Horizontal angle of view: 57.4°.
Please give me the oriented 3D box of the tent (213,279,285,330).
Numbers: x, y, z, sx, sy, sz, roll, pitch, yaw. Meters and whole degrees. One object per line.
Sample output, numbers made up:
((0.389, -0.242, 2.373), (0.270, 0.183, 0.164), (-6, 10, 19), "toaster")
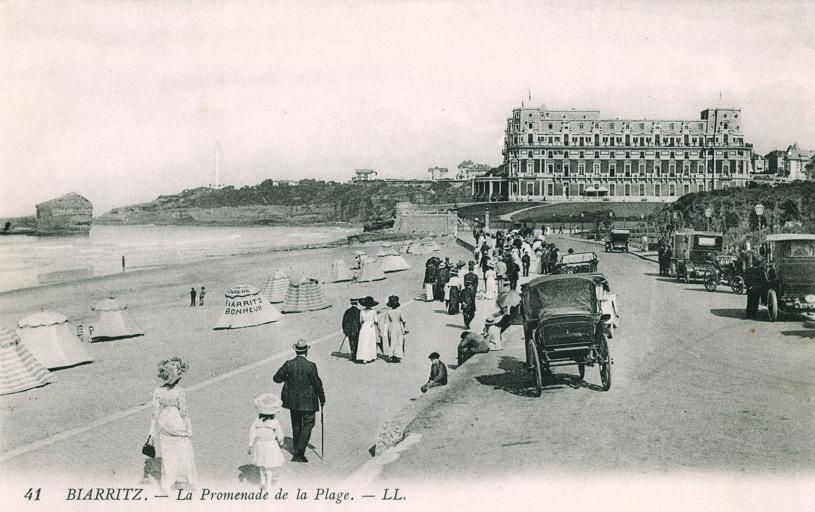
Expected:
((-7.099, 2.263, 33.098), (2.600, 1.820, 1.213), (-2, 7, -11), "tent")

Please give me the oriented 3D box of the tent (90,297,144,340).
((-12.625, 2.797, 32.333), (1.920, 1.442, 1.380), (-3, 8, -22), "tent")

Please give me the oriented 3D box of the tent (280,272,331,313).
((-5.134, 1.777, 36.769), (2.089, 1.752, 3.001), (1, 3, -17), "tent")

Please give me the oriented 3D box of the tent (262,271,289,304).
((-6.751, 1.633, 38.731), (1.932, 1.957, 1.404), (0, -5, -2), "tent")

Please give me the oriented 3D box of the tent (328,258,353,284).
((-4.347, 1.000, 48.046), (1.430, 1.045, 1.439), (1, 2, 16), "tent")

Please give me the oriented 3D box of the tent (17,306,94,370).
((-12.346, 3.271, 28.719), (2.089, 2.444, 4.434), (1, 2, -38), "tent")

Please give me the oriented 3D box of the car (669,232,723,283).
((15.200, 0.017, 39.438), (2.104, 2.469, 3.154), (1, 2, 18), "car")

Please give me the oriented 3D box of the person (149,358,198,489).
((-5.672, 4.200, 18.351), (1.084, 3.312, 1.084), (3, 1, 11), "person")

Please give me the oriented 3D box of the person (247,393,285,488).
((-3.474, 4.573, 18.555), (1.033, 2.393, 1.028), (2, 1, -12), "person")

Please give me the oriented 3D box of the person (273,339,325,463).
((-2.793, 3.751, 19.478), (1.188, 3.275, 1.115), (-2, 7, -10), "person")
